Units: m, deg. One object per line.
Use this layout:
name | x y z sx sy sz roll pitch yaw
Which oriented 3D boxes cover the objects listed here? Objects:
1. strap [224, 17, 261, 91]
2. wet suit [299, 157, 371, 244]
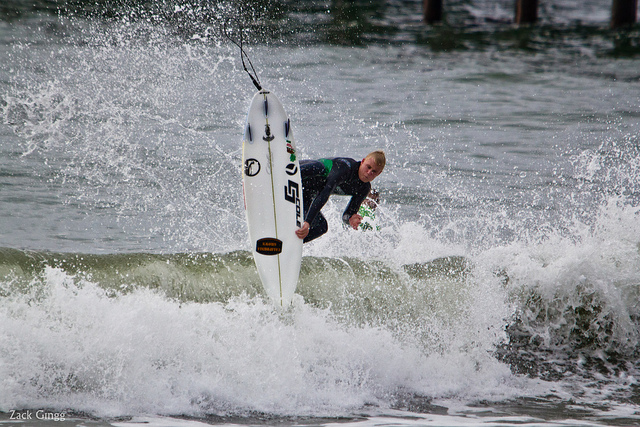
strap | -1.017 -2.009 12.970 0.091 0.830 0.225 -27 15 13
wet suit | 0.177 -0.310 13.035 0.977 0.799 0.680 4 29 3
